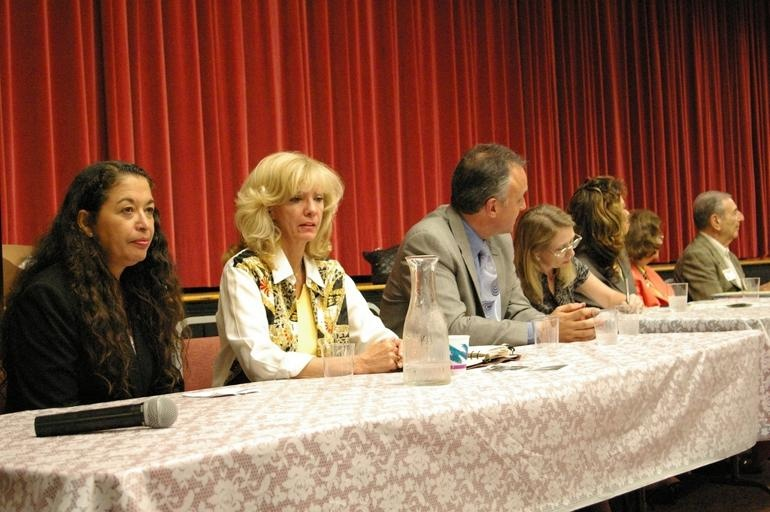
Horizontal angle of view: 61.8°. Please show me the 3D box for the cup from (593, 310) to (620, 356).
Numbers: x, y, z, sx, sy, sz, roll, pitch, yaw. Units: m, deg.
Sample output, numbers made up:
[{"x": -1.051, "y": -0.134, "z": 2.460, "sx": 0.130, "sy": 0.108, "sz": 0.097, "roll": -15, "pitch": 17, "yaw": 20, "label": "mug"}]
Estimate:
[{"x": 0.773, "y": 0.263, "z": 2.247, "sx": 0.077, "sy": 0.140, "sz": 0.084, "roll": -9, "pitch": -4, "yaw": -1, "label": "cup"}]

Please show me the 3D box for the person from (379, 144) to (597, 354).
[{"x": 0.457, "y": -0.061, "z": 3.022, "sx": 0.971, "sy": 1.101, "sz": 0.724, "roll": -2, "pitch": 0, "yaw": 18, "label": "person"}]

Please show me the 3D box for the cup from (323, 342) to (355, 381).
[{"x": -0.152, "y": 0.310, "z": 2.003, "sx": 0.122, "sy": 0.122, "sz": 0.142, "roll": 2, "pitch": 10, "yaw": -4, "label": "cup"}]

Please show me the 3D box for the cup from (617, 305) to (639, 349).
[{"x": 0.898, "y": 0.266, "z": 2.395, "sx": 0.088, "sy": 0.117, "sz": 0.071, "roll": 1, "pitch": -17, "yaw": 1, "label": "cup"}]

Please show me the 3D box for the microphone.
[{"x": -0.674, "y": 0.387, "z": 1.555, "sx": 0.290, "sy": 0.086, "sz": 0.081, "roll": -6, "pitch": -2, "yaw": 1, "label": "microphone"}]

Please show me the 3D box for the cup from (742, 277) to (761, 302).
[{"x": 1.940, "y": 0.180, "z": 3.429, "sx": 0.076, "sy": 0.138, "sz": 0.082, "roll": 3, "pitch": -9, "yaw": 1, "label": "cup"}]

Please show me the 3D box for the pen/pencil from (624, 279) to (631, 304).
[{"x": 1.391, "y": 0.204, "z": 3.713, "sx": 0.020, "sy": 0.125, "sz": 0.021, "roll": -4, "pitch": -6, "yaw": 7, "label": "pen/pencil"}]

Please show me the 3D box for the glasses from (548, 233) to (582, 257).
[{"x": 0.974, "y": -0.084, "z": 3.486, "sx": 0.148, "sy": 0.048, "sz": 0.151, "roll": -23, "pitch": 5, "yaw": 44, "label": "glasses"}]

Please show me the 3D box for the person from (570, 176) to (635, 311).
[{"x": 1.405, "y": -0.151, "z": 4.193, "sx": 0.376, "sy": 0.781, "sz": 0.731, "roll": 1, "pitch": 22, "yaw": 27, "label": "person"}]

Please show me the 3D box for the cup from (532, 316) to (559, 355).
[{"x": 0.580, "y": 0.282, "z": 2.304, "sx": 0.117, "sy": 0.161, "sz": 0.097, "roll": 0, "pitch": -12, "yaw": 0, "label": "cup"}]

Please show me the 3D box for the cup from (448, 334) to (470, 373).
[{"x": 0.216, "y": 0.282, "z": 1.913, "sx": 0.076, "sy": 0.090, "sz": 0.085, "roll": -1, "pitch": -10, "yaw": 2, "label": "cup"}]

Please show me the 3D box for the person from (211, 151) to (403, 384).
[{"x": -0.310, "y": 0.104, "z": 2.512, "sx": 0.716, "sy": 0.943, "sz": 0.654, "roll": 4, "pitch": 3, "yaw": 10, "label": "person"}]
